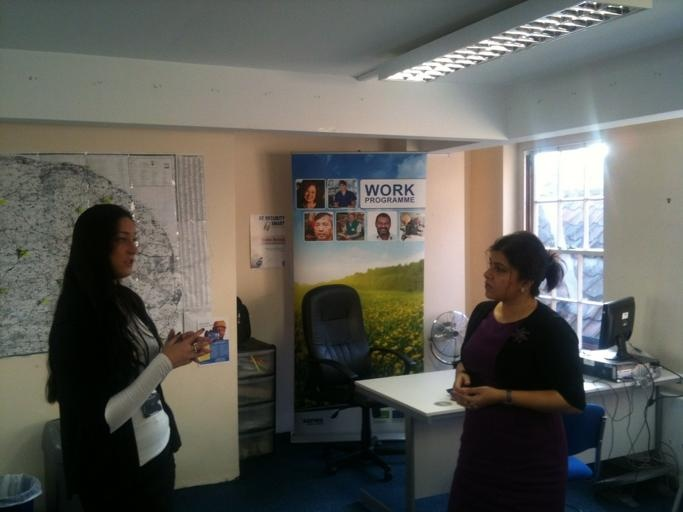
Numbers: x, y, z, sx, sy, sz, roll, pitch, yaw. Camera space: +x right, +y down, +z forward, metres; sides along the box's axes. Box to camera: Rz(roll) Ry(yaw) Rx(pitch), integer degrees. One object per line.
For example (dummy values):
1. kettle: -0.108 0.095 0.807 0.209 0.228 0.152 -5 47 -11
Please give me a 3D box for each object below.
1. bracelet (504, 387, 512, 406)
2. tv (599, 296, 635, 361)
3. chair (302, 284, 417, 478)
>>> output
1. bracelet: 0.759 0.642 2.374 0.037 0.056 0.054 2 -1 10
2. tv: 2.147 0.578 4.058 0.437 0.468 0.179 -6 8 -42
3. chair: 0.160 1.066 4.580 0.897 1.501 0.902 -2 0 -15
